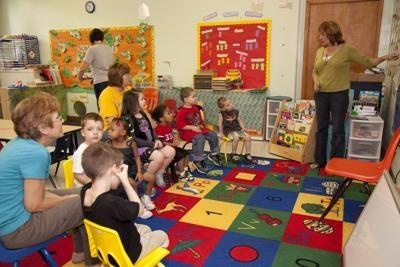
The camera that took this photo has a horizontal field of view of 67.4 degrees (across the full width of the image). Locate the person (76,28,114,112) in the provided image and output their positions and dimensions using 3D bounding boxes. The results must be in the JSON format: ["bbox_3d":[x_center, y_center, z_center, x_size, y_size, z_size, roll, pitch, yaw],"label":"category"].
[{"bbox_3d":[-2.160,-1.092,5.694,0.556,1.769,0.641,18,22,-6],"label":"person"}]

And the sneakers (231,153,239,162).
[{"bbox_3d":[0.589,0.400,4.896,0.092,0.066,0.152,5,11,-3],"label":"sneakers"}]

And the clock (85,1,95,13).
[{"bbox_3d":[-2.553,-2.912,6.982,0.300,0.277,0.045,5,15,25],"label":"clock"}]

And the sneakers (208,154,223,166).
[{"bbox_3d":[0.250,0.438,4.852,0.288,0.123,0.105,34,21,8],"label":"sneakers"}]
